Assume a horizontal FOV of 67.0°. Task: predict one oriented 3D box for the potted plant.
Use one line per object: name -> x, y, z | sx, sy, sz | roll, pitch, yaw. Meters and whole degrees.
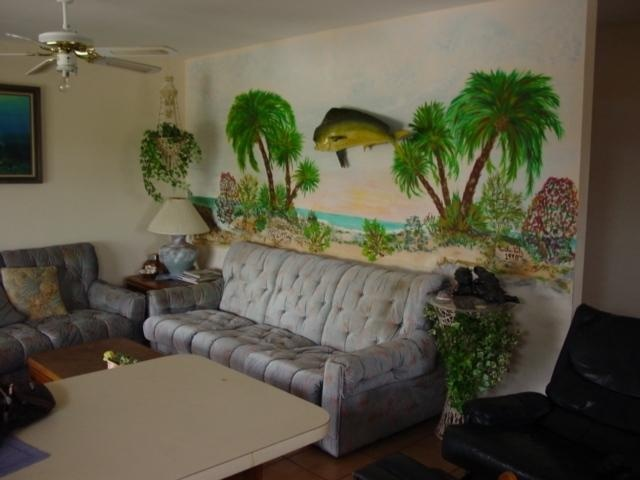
potted plant -> -1.636, -0.906, 5.290 | 0.546, 0.776, 0.584 | 5, 14, -6
